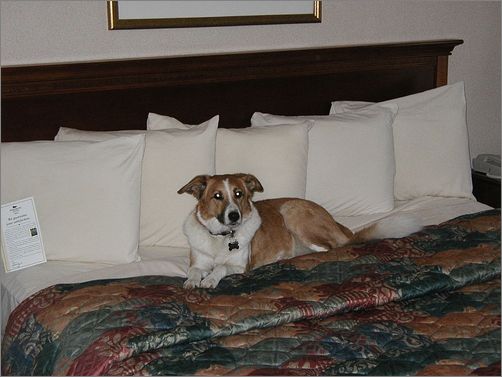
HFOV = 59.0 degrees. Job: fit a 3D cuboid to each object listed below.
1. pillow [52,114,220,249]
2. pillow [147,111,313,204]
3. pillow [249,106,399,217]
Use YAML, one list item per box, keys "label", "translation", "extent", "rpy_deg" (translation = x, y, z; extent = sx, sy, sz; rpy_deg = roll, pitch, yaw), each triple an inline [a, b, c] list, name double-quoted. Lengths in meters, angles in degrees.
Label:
- label: "pillow"
  translation: [-0.681, -0.006, 2.663]
  extent: [1.085, 0.826, 0.318]
  rpy_deg: [-2, -9, -11]
- label: "pillow"
  translation: [-0.130, -0.176, 2.880]
  extent: [0.842, 0.437, 0.179]
  rpy_deg: [1, -11, -5]
- label: "pillow"
  translation: [0.665, -0.135, 3.352]
  extent: [0.892, 0.772, 0.259]
  rpy_deg: [-4, -8, -13]
